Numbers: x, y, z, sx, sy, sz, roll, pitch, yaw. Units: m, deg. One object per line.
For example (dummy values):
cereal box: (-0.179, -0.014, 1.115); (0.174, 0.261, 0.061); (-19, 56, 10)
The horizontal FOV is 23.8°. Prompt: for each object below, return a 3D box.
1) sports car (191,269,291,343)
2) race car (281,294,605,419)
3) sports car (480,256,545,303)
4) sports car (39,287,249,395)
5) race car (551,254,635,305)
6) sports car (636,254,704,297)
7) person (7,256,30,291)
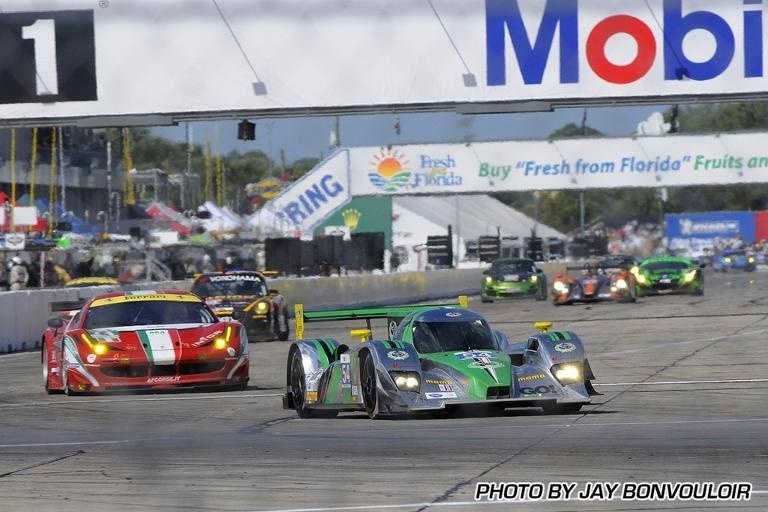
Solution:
sports car: (-4.064, 1.463, 54.800); (2.159, 1.697, 4.593); (-1, 0, -8)
race car: (1.297, 2.587, 44.215); (7.125, 2.639, 1.654); (-1, 2, 3)
sports car: (4.709, 0.908, 66.423); (1.779, 0.992, 2.885); (-1, -2, 7)
sports car: (-6.176, 2.277, 47.409); (5.176, 2.507, 2.185); (-1, 2, -6)
race car: (7.761, 0.918, 64.432); (2.758, 1.395, 6.900); (0, 2, 17)
sports car: (10.293, 0.558, 66.279); (2.627, 1.125, 4.135); (-3, 5, 10)
person: (-13.813, 0.598, 68.807); (0.667, 1.226, 1.151); (-1, 2, -4)
